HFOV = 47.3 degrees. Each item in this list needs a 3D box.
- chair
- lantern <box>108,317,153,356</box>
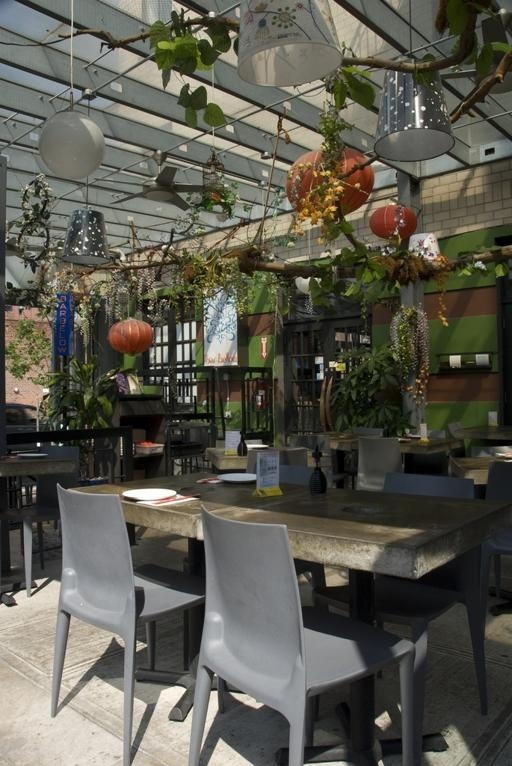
[{"bbox_3d":[0.068,0.729,2.020,0.776,0.797,1.515,-4,3,-41],"label":"chair"},{"bbox_3d":[-1.502,-0.548,7.047,0.431,0.441,0.452,-2,2,6],"label":"lantern"}]
